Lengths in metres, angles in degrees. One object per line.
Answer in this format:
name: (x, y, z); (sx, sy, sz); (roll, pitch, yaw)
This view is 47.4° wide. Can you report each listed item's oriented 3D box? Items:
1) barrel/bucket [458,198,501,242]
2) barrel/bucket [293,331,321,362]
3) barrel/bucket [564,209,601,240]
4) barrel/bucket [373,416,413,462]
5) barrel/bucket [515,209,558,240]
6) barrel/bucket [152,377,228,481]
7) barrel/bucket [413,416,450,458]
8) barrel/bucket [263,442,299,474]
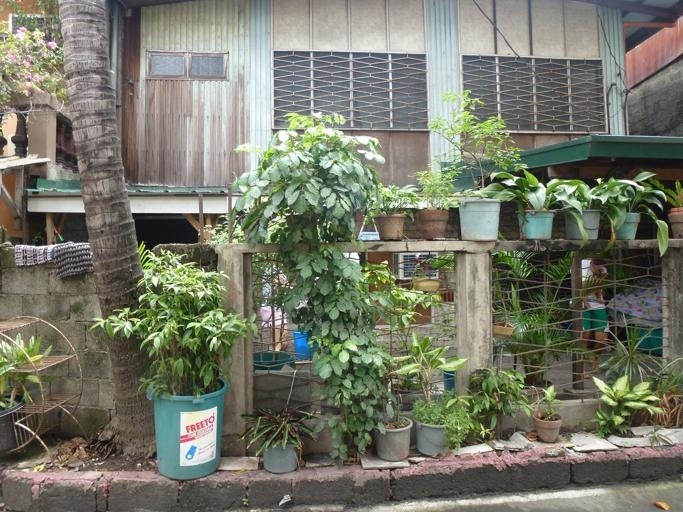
barrel/bucket: (1.735, -0.424, 9.805); (0.526, 0.467, 0.508); (0, -5, 0)
barrel/bucket: (-0.446, 1.145, 9.914); (0.422, 0.438, 0.798); (0, -9, 1)
barrel/bucket: (3.126, -0.407, 10.023); (0.393, 0.298, 0.384); (0, -1, 0)
barrel/bucket: (0.626, 2.237, 9.494); (0.459, 0.466, 0.464); (-2, 3, 0)
barrel/bucket: (2.524, -0.405, 10.031); (0.393, 0.300, 0.403); (2, -4, 0)
barrel/bucket: (-1.826, 2.122, 9.550); (0.938, 0.961, 0.955); (-1, -3, 0)
barrel/bucket: (1.099, 2.198, 9.525); (0.426, 0.387, 0.401); (-2, -7, 0)
barrel/bucket: (-0.735, 2.428, 9.464); (0.357, 0.269, 0.362); (0, -10, 0)
